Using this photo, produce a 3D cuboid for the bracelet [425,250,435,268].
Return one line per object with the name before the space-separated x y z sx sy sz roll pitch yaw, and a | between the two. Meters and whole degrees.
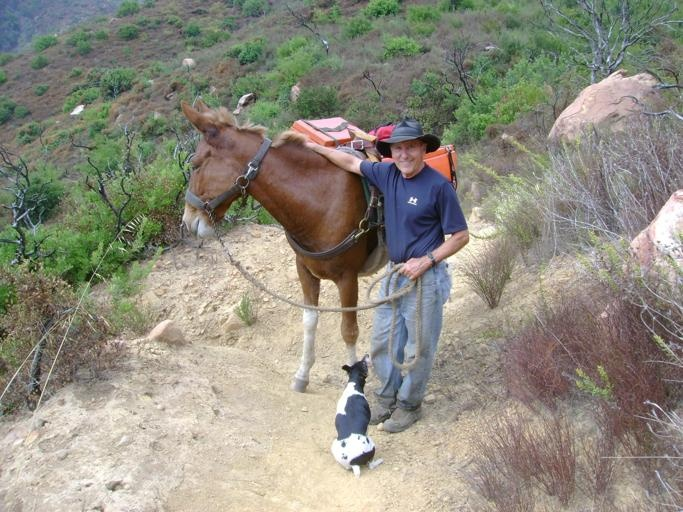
bracelet | 0.927 0.023 5.896 0.081 0.135 0.157 3 85 -1
